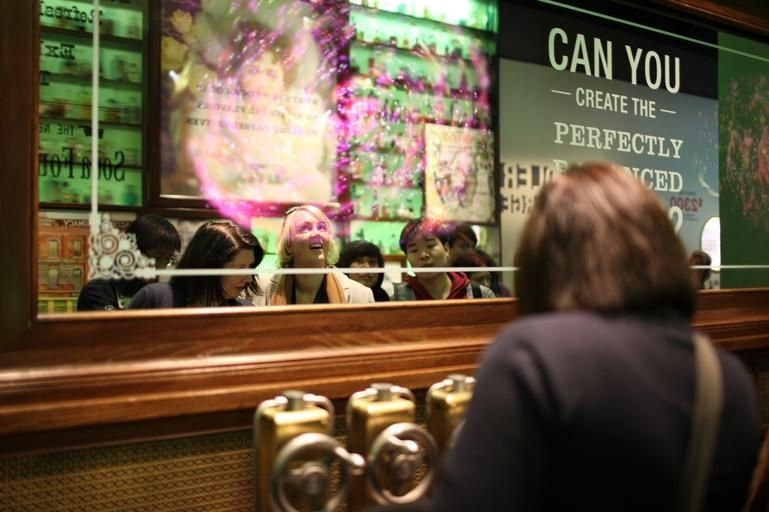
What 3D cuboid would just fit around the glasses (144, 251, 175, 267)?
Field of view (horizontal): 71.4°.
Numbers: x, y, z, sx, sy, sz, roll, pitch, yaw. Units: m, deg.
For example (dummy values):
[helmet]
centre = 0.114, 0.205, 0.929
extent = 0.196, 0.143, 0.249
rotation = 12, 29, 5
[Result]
[glasses]
centre = -0.608, 0.005, 1.462
extent = 0.042, 0.033, 0.053
rotation = 0, 12, -38
